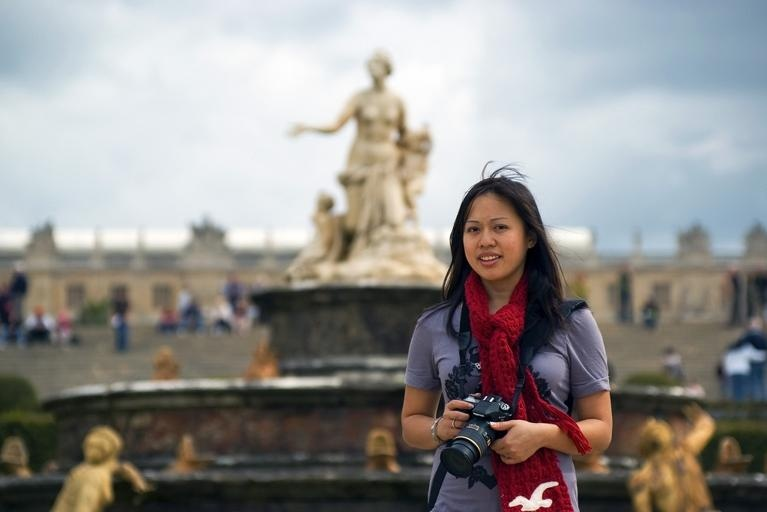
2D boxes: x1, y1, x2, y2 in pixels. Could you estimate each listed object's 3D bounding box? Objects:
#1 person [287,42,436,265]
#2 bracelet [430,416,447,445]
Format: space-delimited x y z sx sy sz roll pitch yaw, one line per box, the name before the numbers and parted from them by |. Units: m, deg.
person | -0.047 -1.153 24.965 1.069 2.202 0.524 -2 -3 0
bracelet | 0.484 1.583 20.852 0.083 0.214 0.185 2 -1 -1
